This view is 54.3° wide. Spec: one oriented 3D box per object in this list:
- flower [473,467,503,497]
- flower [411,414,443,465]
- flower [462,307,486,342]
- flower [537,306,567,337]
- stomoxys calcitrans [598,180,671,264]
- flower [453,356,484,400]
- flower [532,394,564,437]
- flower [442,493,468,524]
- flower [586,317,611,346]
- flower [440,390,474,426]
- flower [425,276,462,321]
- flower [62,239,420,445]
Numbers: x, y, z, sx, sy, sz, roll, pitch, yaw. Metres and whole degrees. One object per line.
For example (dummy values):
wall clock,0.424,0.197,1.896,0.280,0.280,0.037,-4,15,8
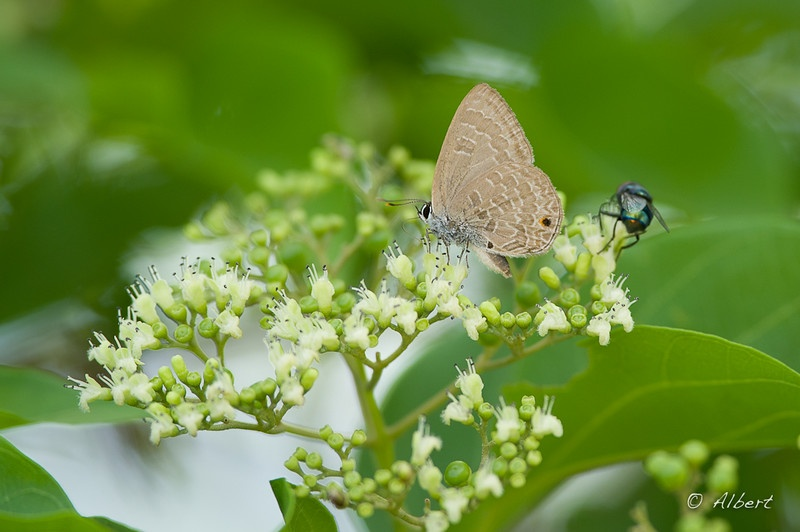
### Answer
flower,0.347,0.845,3.032,0.121,0.205,0.112,2,67,1
flower,0.100,0.676,2.978,0.115,0.139,0.199,11,91,0
flower,0.311,0.247,3.291,0.090,0.042,0.135,-5,87,5
flower,0.641,0.230,3.298,0.126,0.112,0.113,-3,68,-1
stomoxys calcitrans,1.023,-0.234,3.505,0.395,0.216,0.237,-21,70,-8
flower,0.281,0.468,3.156,0.104,0.118,0.191,-2,74,-48
flower,0.586,0.630,3.210,0.146,0.166,0.181,-11,62,29
flower,0.203,0.921,2.975,0.041,0.110,0.114,7,55,-21
flower,0.813,0.267,3.184,0.087,0.028,0.109,4,85,31
flower,0.232,0.574,3.180,0.091,0.109,0.140,-27,63,-23
flower,0.187,0.129,3.296,0.172,0.104,0.157,14,69,5
flower,-0.679,0.344,3.227,1.023,0.476,0.938,-13,35,11
